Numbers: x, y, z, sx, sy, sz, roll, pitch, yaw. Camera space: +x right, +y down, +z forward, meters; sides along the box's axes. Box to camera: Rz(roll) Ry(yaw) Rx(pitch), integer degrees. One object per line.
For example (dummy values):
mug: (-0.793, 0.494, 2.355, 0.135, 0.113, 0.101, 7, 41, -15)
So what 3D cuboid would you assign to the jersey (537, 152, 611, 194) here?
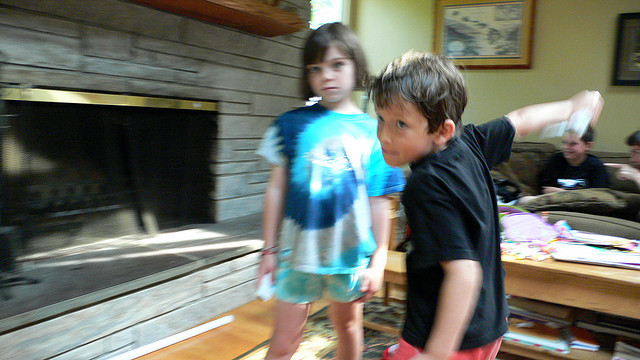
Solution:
jersey: (2.332, -0.032, 3.564, 0.395, 0.371, 0.638, -17, 13, -31)

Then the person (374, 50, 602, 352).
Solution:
person: (0.484, 0.093, 1.342, 0.684, 1.030, 0.426, -17, 22, -42)

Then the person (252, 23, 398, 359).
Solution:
person: (0.008, 0.071, 1.703, 0.625, 1.470, 0.420, -4, 17, -8)

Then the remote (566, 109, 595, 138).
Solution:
remote: (0.906, -0.195, 1.380, 0.092, 0.094, 0.030, 22, 9, 8)

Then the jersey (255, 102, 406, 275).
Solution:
jersey: (0.057, 0.028, 1.655, 0.599, 0.691, 0.298, -3, 17, -7)
